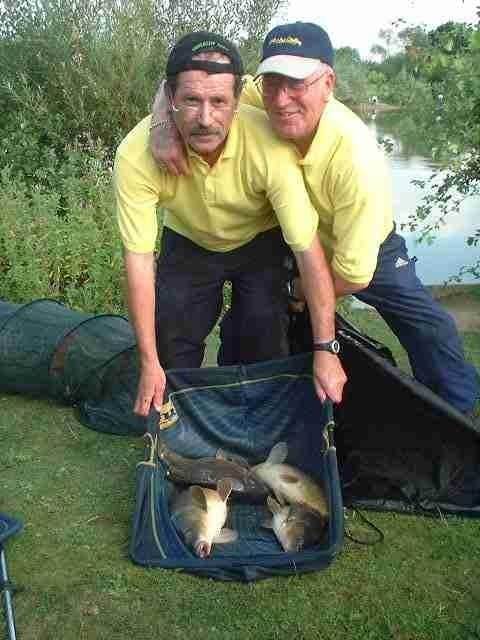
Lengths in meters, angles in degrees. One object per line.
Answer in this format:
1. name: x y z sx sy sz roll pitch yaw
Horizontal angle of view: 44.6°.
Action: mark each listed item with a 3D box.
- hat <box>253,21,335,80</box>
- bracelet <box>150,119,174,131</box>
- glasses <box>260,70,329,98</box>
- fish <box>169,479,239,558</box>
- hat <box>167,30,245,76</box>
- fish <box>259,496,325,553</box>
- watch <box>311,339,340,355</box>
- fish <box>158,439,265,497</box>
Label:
1. hat: 0.222 -1.077 2.330 0.273 0.203 0.384 9 28 20
2. bracelet: -0.318 -0.802 2.398 0.127 0.062 0.051 18 24 41
3. glasses: 0.210 -0.916 2.262 0.251 0.107 0.119 4 18 6
4. fish: -0.146 0.820 2.421 0.271 0.162 0.396 0 18 -7
5. hat: -0.125 -0.995 2.149 0.179 0.130 0.244 -4 31 -11
6. fish: 0.193 0.841 2.393 0.293 0.122 0.170 17 23 38
7. watch: 0.394 0.129 2.604 0.077 0.043 0.079 -4 -5 42
8. fish: -0.114 0.700 2.723 0.518 0.216 0.175 17 -19 -3
